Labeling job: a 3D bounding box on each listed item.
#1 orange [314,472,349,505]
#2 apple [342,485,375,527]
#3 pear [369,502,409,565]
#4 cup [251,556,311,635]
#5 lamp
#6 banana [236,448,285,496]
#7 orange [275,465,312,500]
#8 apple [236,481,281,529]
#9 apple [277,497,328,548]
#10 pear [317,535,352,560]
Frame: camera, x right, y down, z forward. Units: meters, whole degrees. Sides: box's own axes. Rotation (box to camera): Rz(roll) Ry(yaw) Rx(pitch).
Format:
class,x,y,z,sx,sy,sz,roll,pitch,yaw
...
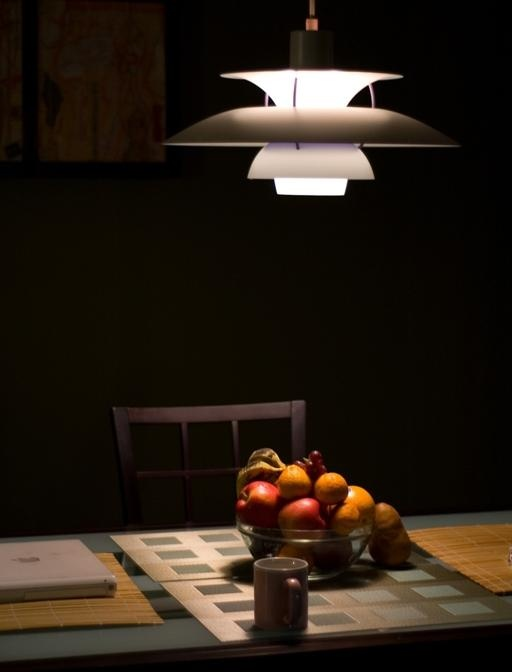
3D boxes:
class,x,y,z,sx,sy,sz,roll,pitch,yaw
orange,0.096,0.190,0.841,0.041,0.040,0.039,2,1,7
apple,0.134,0.225,0.874,0.044,0.051,0.045,-14,-6,44
pear,0.186,0.290,0.954,0.066,0.093,0.060,-8,-13,25
cup,0.029,0.276,0.688,0.057,0.064,0.087,3,-4,-13
lamp,0.046,-0.321,0.788,0.287,0.290,0.274,0,-2,-4
banana,0.001,0.184,0.931,0.035,0.017,0.047,-33,-46,26
orange,0.046,0.186,0.831,0.042,0.040,0.040,-3,-3,-2
apple,-0.003,0.231,0.875,0.056,0.066,0.056,1,5,23
apple,0.043,0.229,0.831,0.066,0.059,0.063,16,-33,-8
pear,0.098,0.262,0.814,0.034,0.025,0.037,0,-6,-12
